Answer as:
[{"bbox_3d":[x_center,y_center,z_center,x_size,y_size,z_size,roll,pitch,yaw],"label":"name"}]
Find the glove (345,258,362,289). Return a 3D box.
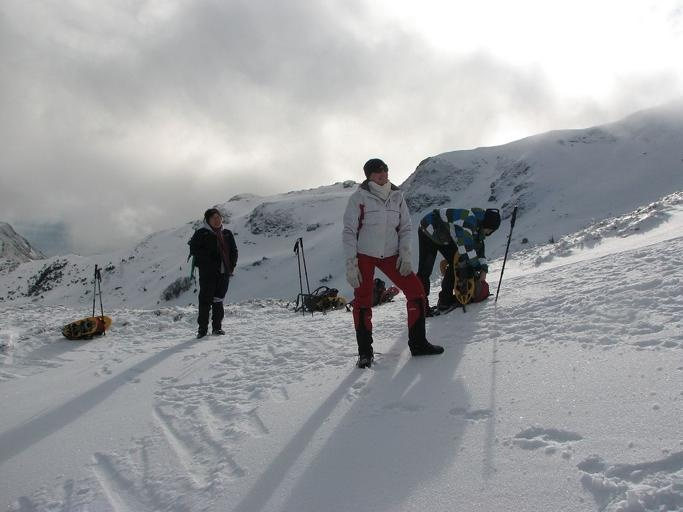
[{"bbox_3d":[0.169,0.213,7.892,0.277,0.341,0.092,-7,-1,5],"label":"glove"}]

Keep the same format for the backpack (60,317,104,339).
[{"bbox_3d":[-4.790,1.355,10.878,0.743,0.375,0.322,-6,-1,-34],"label":"backpack"}]

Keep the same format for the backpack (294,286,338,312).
[{"bbox_3d":[-0.537,1.064,14.057,0.945,0.439,0.640,-3,2,-25],"label":"backpack"}]

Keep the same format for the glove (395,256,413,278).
[{"bbox_3d":[0.847,0.124,7.915,0.204,0.270,0.196,-6,-1,3],"label":"glove"}]

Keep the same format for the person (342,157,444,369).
[{"bbox_3d":[0.596,0.045,7.939,1.079,2.774,0.565,-6,-1,0],"label":"person"}]

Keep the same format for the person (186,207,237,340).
[{"bbox_3d":[-2.368,0.264,10.944,0.891,2.216,1.202,-6,-1,-14],"label":"person"}]

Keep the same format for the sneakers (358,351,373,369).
[{"bbox_3d":[0.320,1.382,7.822,0.204,0.201,0.239,-7,-1,14],"label":"sneakers"}]
